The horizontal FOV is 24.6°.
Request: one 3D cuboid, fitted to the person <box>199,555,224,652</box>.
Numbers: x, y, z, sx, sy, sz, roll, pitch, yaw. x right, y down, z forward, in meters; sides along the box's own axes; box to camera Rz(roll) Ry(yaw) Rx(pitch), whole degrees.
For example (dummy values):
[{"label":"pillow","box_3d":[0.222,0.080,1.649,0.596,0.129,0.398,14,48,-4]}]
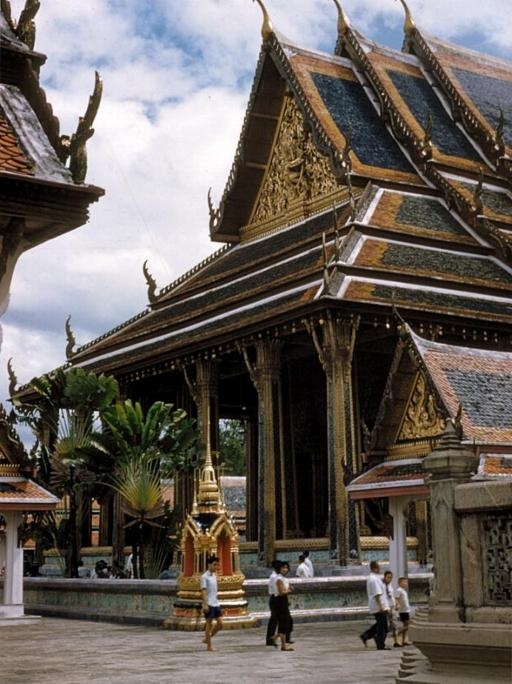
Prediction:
[{"label":"person","box_3d":[-0.449,2.620,11.723,0.187,0.926,0.477,-1,-15,-3]}]
